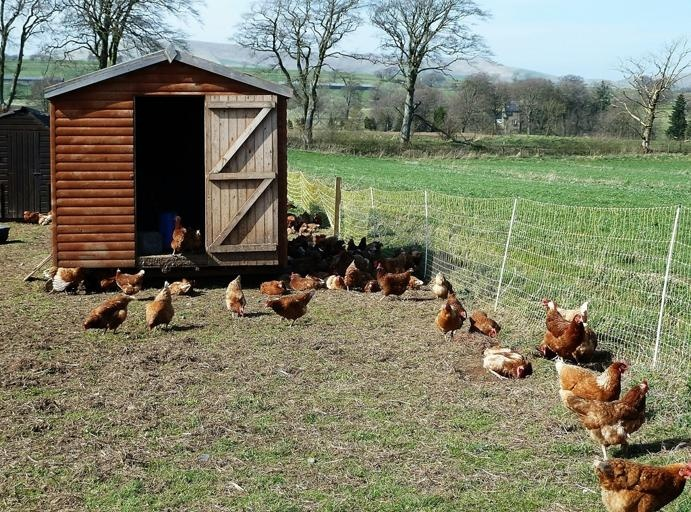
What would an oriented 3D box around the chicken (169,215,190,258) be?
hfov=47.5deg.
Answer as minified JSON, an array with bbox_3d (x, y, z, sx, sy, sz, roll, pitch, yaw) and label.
[{"bbox_3d":[-3.523,-0.394,16.524,0.286,0.832,0.839,6,7,-25],"label":"chicken"}]

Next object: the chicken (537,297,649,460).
[{"bbox_3d":[3.261,1.758,10.485,1.381,1.434,1.042,5,1,-20],"label":"chicken"}]

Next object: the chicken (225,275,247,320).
[{"bbox_3d":[-2.040,0.732,14.422,0.320,0.712,0.677,0,9,-7],"label":"chicken"}]

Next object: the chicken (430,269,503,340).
[{"bbox_3d":[1.980,0.769,13.389,0.957,1.123,0.963,-3,10,-11],"label":"chicken"}]

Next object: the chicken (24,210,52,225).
[{"bbox_3d":[-9.783,-1.181,24.730,0.718,0.303,0.550,1,1,-1],"label":"chicken"}]
